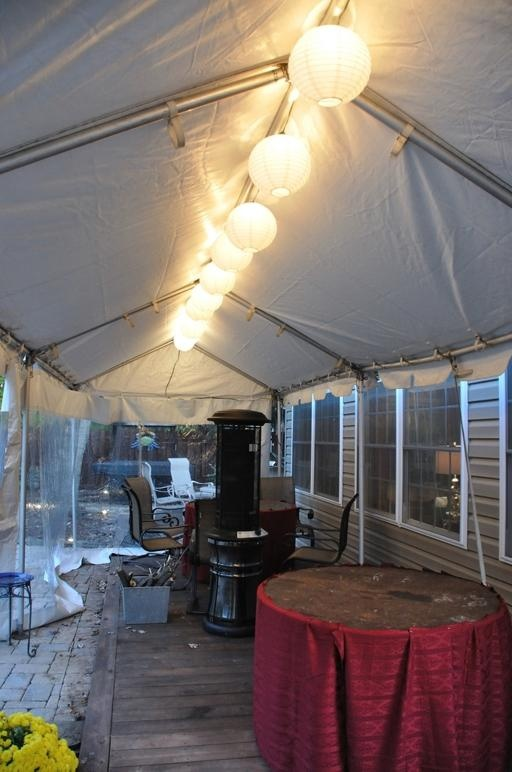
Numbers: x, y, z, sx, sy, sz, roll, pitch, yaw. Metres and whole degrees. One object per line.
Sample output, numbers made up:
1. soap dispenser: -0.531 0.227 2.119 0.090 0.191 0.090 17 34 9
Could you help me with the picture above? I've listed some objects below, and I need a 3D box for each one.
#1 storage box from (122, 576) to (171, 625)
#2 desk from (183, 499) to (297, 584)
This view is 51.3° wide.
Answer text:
1. storage box: -0.930 1.802 4.483 0.327 0.229 0.345 1 -5 -9
2. desk: -0.003 1.637 5.821 1.058 0.783 1.093 1 -3 6
